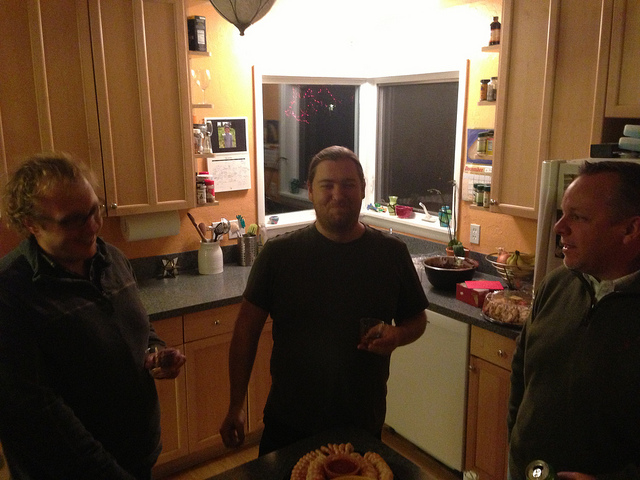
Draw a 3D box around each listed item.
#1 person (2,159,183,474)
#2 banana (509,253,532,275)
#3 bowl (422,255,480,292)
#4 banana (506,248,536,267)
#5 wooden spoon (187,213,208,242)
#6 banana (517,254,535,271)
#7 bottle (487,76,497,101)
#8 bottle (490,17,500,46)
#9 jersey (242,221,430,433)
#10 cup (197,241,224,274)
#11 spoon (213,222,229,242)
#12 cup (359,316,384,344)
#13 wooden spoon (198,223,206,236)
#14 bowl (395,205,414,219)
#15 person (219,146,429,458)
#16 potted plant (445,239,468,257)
[{"bbox_3d":[-0.889,0.341,1.762,0.449,1.248,0.515,-7,15,-17],"label":"person"},{"bbox_3d":[1.216,0.143,2.910,0.103,0.073,0.108,5,7,26],"label":"banana"},{"bbox_3d":[0.849,0.220,3.155,0.335,0.172,0.342,-2,16,1],"label":"bowl"},{"bbox_3d":[1.230,0.098,2.938,0.110,0.064,0.108,0,0,-43],"label":"banana"},{"bbox_3d":[-0.891,-0.100,3.469,0.112,0.211,0.157,-14,19,-38],"label":"wooden spoon"},{"bbox_3d":[1.246,0.132,2.913,0.068,0.046,0.069,21,1,-23],"label":"banana"},{"bbox_3d":[1.104,-0.973,3.075,0.054,0.140,0.109,3,16,19],"label":"bottle"},{"bbox_3d":[1.090,-1.296,2.987,0.056,0.138,0.060,-2,15,1],"label":"bottle"},{"bbox_3d":[0.077,0.358,1.974,0.731,0.790,0.316,-6,15,-11],"label":"jersey"},{"bbox_3d":[-0.803,0.108,3.523,0.184,0.232,0.201,3,15,-1],"label":"cup"},{"bbox_3d":[-0.727,-0.069,3.487,0.076,0.154,0.026,17,3,16],"label":"spoon"},{"bbox_3d":[0.189,0.337,1.812,0.090,0.078,0.075,-2,7,-21],"label":"cup"},{"bbox_3d":[-0.853,-0.091,3.486,0.020,0.076,0.054,-2,8,15],"label":"wooden spoon"},{"bbox_3d":[0.727,-0.240,4.051,0.113,0.082,0.113,1,1,0],"label":"bowl"},{"bbox_3d":[0.018,0.251,1.966,0.930,1.207,0.398,-7,15,-17],"label":"person"},{"bbox_3d":[0.952,0.059,3.321,0.137,0.113,0.130,2,16,17],"label":"potted plant"}]
